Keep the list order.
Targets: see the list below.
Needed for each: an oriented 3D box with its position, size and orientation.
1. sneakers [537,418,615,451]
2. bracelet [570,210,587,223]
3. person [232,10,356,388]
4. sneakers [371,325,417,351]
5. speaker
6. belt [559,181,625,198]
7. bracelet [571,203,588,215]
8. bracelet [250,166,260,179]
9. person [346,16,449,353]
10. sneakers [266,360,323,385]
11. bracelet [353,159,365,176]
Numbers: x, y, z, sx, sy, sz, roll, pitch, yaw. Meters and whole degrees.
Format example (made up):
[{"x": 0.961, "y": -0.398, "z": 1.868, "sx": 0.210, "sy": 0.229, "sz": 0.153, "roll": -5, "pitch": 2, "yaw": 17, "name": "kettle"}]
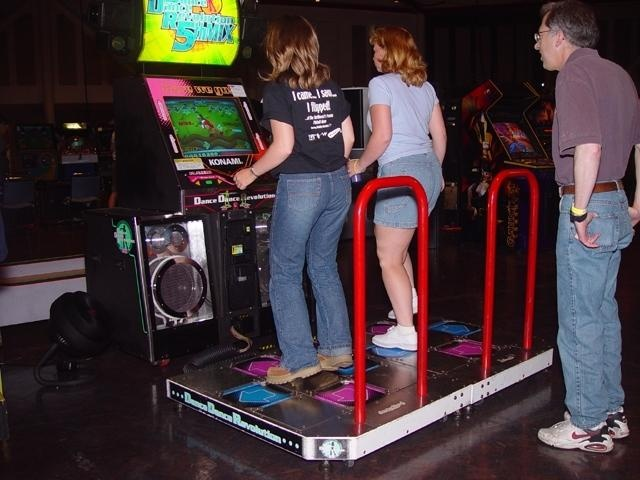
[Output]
[{"x": 1.243, "y": 0.945, "z": 2.674, "sx": 0.373, "sy": 0.167, "sz": 0.141, "roll": 1, "pitch": 6, "yaw": 18, "name": "sneakers"}, {"x": 1.128, "y": -0.107, "z": 2.346, "sx": 0.064, "sy": 0.055, "sz": 0.054, "roll": 13, "pitch": 18, "yaw": 39, "name": "bracelet"}, {"x": -0.071, "y": -0.185, "z": 2.870, "sx": 0.552, "sy": 1.923, "sz": 0.368, "roll": -3, "pitch": 12, "yaw": -7, "name": "person"}, {"x": 0.480, "y": 0.595, "z": 3.422, "sx": 0.303, "sy": 0.148, "sz": 0.119, "roll": 7, "pitch": 13, "yaw": 35, "name": "sneakers"}, {"x": -1.184, "y": 0.287, "z": 3.659, "sx": 0.866, "sy": 0.964, "sz": 0.433, "roll": 5, "pitch": 13, "yaw": 26, "name": "speaker"}, {"x": 1.235, "y": -0.226, "z": 2.447, "sx": 0.266, "sy": 0.072, "sz": 0.260, "roll": 5, "pitch": 13, "yaw": 25, "name": "belt"}, {"x": 1.125, "y": -0.138, "z": 2.333, "sx": 0.045, "sy": 0.021, "sz": 0.035, "roll": 6, "pitch": -2, "yaw": -10, "name": "bracelet"}, {"x": -0.359, "y": -0.370, "z": 2.928, "sx": 0.022, "sy": 0.052, "sz": 0.060, "roll": -41, "pitch": 51, "yaw": -7, "name": "bracelet"}, {"x": 0.493, "y": -0.297, "z": 3.299, "sx": 0.492, "sy": 1.961, "sz": 0.732, "roll": 2, "pitch": 12, "yaw": 16, "name": "person"}, {"x": -0.116, "y": 0.708, "z": 2.963, "sx": 0.330, "sy": 0.146, "sz": 0.118, "roll": -3, "pitch": 7, "yaw": 4, "name": "sneakers"}, {"x": 0.216, "y": -0.411, "z": 3.062, "sx": 0.088, "sy": 0.037, "sz": 0.065, "roll": -15, "pitch": 26, "yaw": -4, "name": "bracelet"}]
